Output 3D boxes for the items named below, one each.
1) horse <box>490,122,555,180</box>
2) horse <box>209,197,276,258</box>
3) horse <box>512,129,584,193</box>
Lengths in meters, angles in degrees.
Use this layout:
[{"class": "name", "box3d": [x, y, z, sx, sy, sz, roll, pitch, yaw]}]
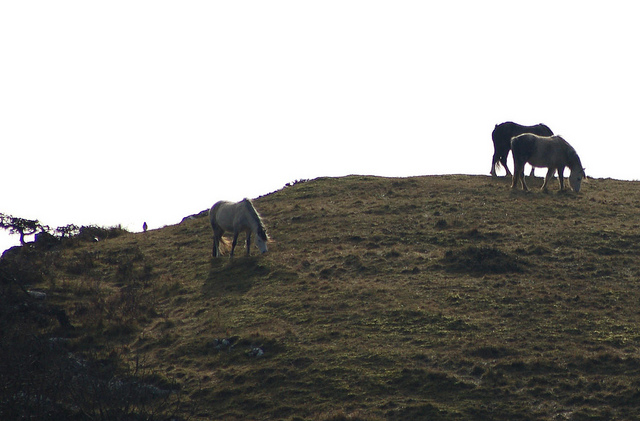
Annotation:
[{"class": "horse", "box3d": [12.062, -3.451, 88.287, 4.726, 3.395, 1.316, 7, -5, 33]}, {"class": "horse", "box3d": [-4.319, 1.008, 80.987, 1.529, 3.049, 5.737, -5, 6, -35]}, {"class": "horse", "box3d": [12.542, -3.223, 85.817, 3.624, 4.598, 2.945, 0, -28, 7]}]
